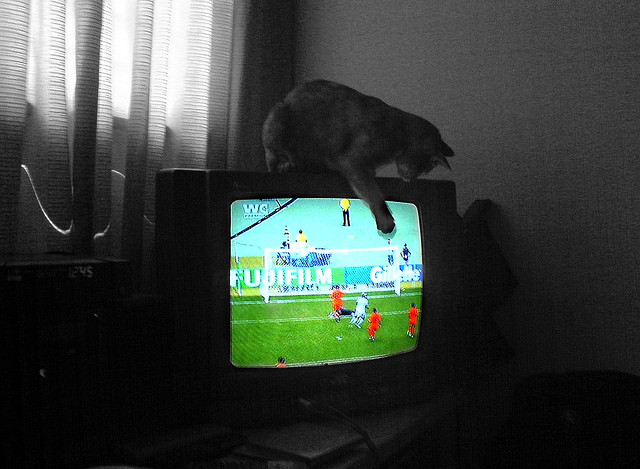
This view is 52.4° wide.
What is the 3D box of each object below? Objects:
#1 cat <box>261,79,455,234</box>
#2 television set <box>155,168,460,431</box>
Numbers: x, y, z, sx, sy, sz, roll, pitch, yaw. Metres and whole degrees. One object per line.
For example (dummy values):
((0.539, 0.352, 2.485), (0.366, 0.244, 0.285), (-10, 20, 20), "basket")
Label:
((0.045, -0.120, 0.938), (0.301, 0.178, 0.102), (20, 27, 18), "cat")
((-0.008, 0.072, 0.999), (0.392, 0.326, 0.208), (1, 1, -22), "television set")
